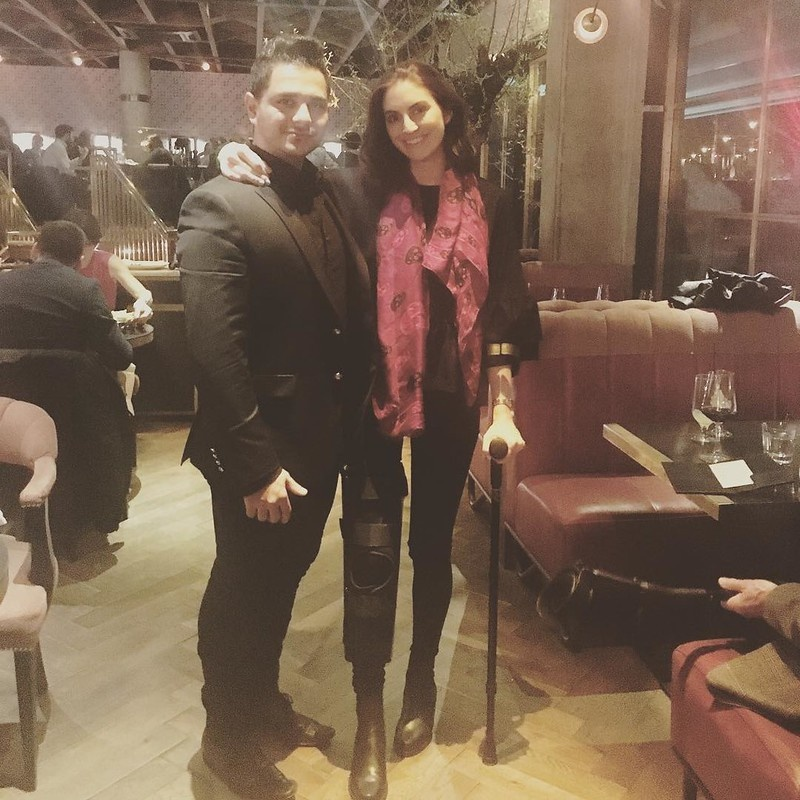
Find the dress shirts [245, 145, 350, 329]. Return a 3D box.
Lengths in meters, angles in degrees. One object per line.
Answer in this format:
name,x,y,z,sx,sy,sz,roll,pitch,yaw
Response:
dress shirts,-0.198,-0.335,1.550,0.214,0.360,0.106,-11,11,-4

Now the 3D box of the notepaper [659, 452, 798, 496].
notepaper,0.836,0.181,1.956,0.395,0.038,0.217,-3,14,-14

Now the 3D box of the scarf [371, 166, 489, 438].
scarf,0.076,-0.243,1.918,0.272,0.621,0.247,0,11,1

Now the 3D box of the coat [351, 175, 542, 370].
coat,0.193,-0.277,2.136,0.436,0.518,0.170,-2,-2,-21

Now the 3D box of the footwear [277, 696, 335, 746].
footwear,-0.260,0.877,2.093,0.141,0.036,0.155,26,27,-22

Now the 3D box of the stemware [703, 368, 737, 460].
stemware,0.911,0.041,2.237,0.085,0.270,0.093,-3,12,-12

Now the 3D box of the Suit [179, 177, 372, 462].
Suit,-0.255,-0.143,1.579,0.372,0.590,0.155,-4,11,-19

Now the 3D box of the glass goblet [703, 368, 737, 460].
glass goblet,0.912,0.039,2.239,0.091,0.277,0.091,12,20,40
